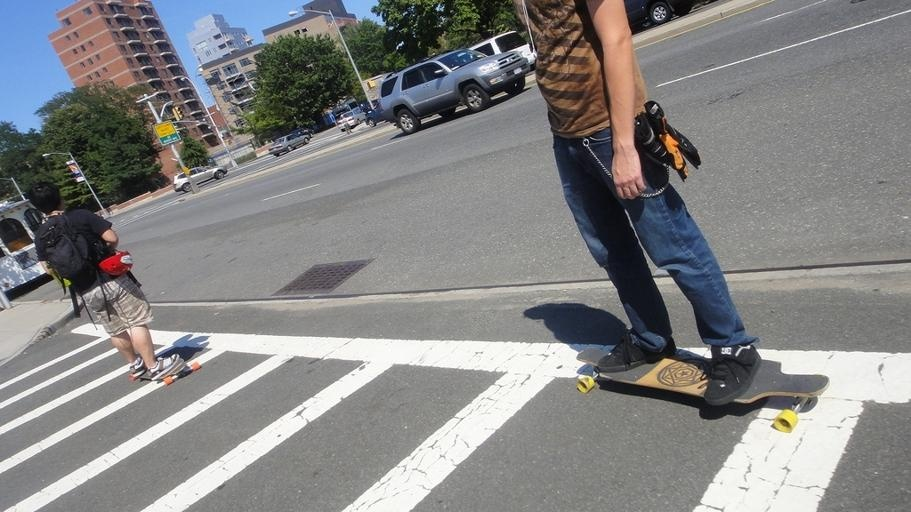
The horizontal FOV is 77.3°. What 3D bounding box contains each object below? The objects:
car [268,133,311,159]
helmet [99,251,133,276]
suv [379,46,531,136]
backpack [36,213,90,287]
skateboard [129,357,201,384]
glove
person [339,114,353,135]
[{"bbox_3d":[-15.210,-10.269,52.458,1.814,1.085,3.817,-5,19,25],"label":"car"},{"bbox_3d":[-4.647,0.114,7.740,0.397,0.213,0.305,-2,4,10],"label":"helmet"},{"bbox_3d":[-0.217,-5.979,20.178,5.026,2.307,1.658,-4,26,38],"label":"suv"},{"bbox_3d":[-5.184,-0.069,7.618,0.530,0.813,0.446,-32,22,-29],"label":"backpack"},{"bbox_3d":[-3.990,1.569,7.832,0.585,0.229,0.219,-22,24,-19],"label":"skateboard"},{"bbox_3d":[1.794,-0.990,4.961,0.280,0.751,0.563,-53,16,13],"label":"glove"},{"bbox_3d":[-8.819,-10.617,45.545,1.435,1.004,3.138,1,30,-4],"label":"person"}]
